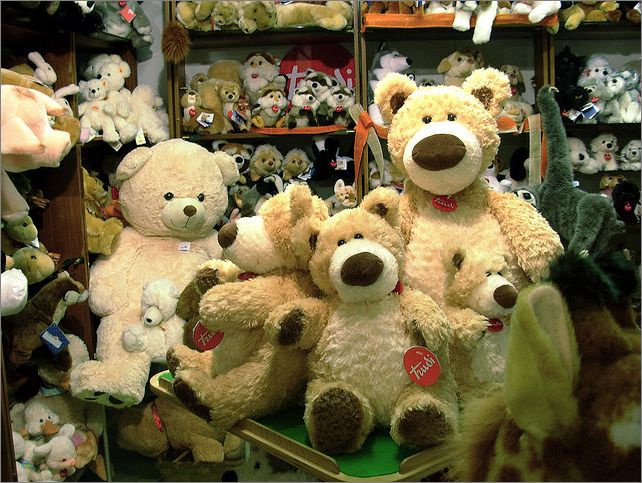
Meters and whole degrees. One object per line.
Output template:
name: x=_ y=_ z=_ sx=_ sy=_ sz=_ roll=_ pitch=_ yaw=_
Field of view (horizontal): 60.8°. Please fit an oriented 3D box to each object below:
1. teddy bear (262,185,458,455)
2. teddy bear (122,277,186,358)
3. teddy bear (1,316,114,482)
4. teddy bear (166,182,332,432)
teddy bear: x=0.117 y=0.149 z=1.408 sx=0.523 sy=0.777 sz=0.481 roll=-4 pitch=1 yaw=-3
teddy bear: x=-0.641 y=0.306 z=2.146 sx=0.241 sy=0.322 sz=0.248 roll=-5 pitch=26 yaw=-29
teddy bear: x=-0.976 y=0.611 z=2.022 sx=0.308 sy=0.677 sz=0.262 roll=-8 pitch=14 yaw=-36
teddy bear: x=-0.226 y=0.149 z=1.450 sx=0.432 sy=0.612 sz=0.420 roll=5 pitch=0 yaw=35
